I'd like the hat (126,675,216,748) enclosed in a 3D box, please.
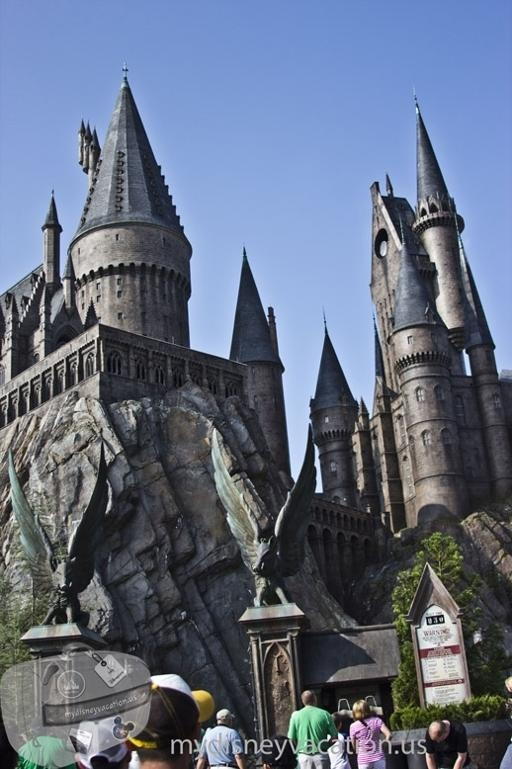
[{"bbox_3d":[-0.303,1.051,2.973,0.233,0.217,0.223,-6,-14,-11],"label":"hat"}]
